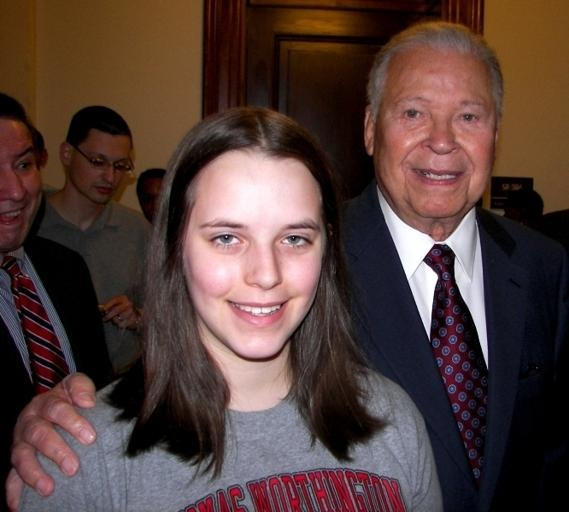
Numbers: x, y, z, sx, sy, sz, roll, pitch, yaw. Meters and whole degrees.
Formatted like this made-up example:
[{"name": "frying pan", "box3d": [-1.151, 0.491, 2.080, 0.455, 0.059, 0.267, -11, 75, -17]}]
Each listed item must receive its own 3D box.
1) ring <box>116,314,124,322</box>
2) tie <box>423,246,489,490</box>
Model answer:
[{"name": "ring", "box3d": [-0.730, 0.281, 2.466, 0.035, 0.035, 0.013, 4, -11, 2]}, {"name": "tie", "box3d": [0.536, 0.328, 1.750, 0.141, 0.691, 0.071, -7, -15, -7]}]
